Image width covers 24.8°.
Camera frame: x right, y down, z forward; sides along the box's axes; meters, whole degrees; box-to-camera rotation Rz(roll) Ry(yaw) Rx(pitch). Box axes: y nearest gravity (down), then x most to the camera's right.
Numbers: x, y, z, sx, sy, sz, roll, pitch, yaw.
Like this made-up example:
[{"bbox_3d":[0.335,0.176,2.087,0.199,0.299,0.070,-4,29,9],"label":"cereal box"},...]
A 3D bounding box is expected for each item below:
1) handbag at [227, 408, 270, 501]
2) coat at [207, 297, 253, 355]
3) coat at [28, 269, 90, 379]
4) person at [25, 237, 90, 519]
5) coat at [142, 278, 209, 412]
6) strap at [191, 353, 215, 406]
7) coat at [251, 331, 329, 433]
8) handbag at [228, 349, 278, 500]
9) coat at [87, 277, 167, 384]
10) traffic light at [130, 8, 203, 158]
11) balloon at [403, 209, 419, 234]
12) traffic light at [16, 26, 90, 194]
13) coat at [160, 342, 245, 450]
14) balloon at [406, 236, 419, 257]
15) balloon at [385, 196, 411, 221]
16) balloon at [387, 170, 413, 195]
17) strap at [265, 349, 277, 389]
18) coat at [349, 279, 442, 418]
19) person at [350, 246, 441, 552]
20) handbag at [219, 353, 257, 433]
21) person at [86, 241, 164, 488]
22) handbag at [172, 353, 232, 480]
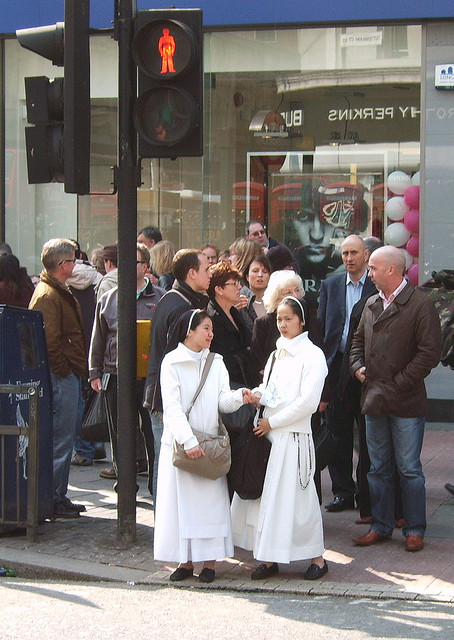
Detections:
[{"bbox_3d":[0.120,0.738,5.745,0.217,0.479,0.282,-1,1,-11],"label":"handbag"},{"bbox_3d":[0.006,0.044,6.625,0.202,0.351,0.369,-1,4,22],"label":"coat"},{"bbox_3d":[-1.214,0.037,7.351,0.399,0.786,0.582,-1,2,0],"label":"coat"},{"bbox_3d":[-1.240,0.381,7.521,0.407,1.938,1.467,-1,1,-11],"label":"person"},{"bbox_3d":[-0.391,0.157,6.406,0.269,0.725,0.490,9,13,-9],"label":"coat"},{"bbox_3d":[-0.140,0.340,5.770,0.038,0.338,0.051,6,-33,32],"label":"strap"},{"bbox_3d":[0.331,0.352,5.825,0.432,0.603,0.357,1,-4,43],"label":"coat"},{"bbox_3d":[0.129,0.750,5.718,0.214,0.440,0.224,-1,1,-24],"label":"handbag"},{"bbox_3d":[-0.770,0.071,7.958,0.650,0.787,0.302,3,9,-29],"label":"coat"},{"bbox_3d":[-0.359,-1.379,5.969,0.483,0.865,0.207,-1,1,23],"label":"traffic light"},{"bbox_3d":[1.878,-0.999,10.437,0.091,0.258,0.227,-1,1,-31],"label":"balloon"},{"bbox_3d":[-1.017,-1.236,6.073,0.470,1.001,0.301,0,1,36],"label":"traffic light"},{"bbox_3d":[-0.150,0.427,5.734,0.417,0.538,0.380,-6,12,-37],"label":"coat"},{"bbox_3d":[1.883,-0.746,10.393,0.168,0.190,0.167,5,21,9],"label":"balloon"},{"bbox_3d":[1.741,-1.143,10.646,0.239,0.236,0.269,11,5,-4],"label":"balloon"},{"bbox_3d":[1.784,-1.418,10.620,0.248,0.193,0.192,-3,-5,9],"label":"balloon"},{"bbox_3d":[0.253,0.250,5.878,0.024,0.178,0.009,7,-21,37],"label":"strap"},{"bbox_3d":[1.049,0.181,6.492,0.329,0.842,0.706,-1,1,-36],"label":"coat"},{"bbox_3d":[1.111,0.466,6.805,0.590,1.866,1.141,-1,1,7],"label":"person"},{"bbox_3d":[0.103,0.449,5.961,0.342,0.339,0.127,-3,3,41],"label":"handbag"},{"bbox_3d":[-0.777,0.335,8.025,0.774,1.975,0.484,-9,24,-34],"label":"person"},{"bbox_3d":[-0.116,0.518,5.568,0.308,0.712,0.109,10,19,1],"label":"handbag"}]
